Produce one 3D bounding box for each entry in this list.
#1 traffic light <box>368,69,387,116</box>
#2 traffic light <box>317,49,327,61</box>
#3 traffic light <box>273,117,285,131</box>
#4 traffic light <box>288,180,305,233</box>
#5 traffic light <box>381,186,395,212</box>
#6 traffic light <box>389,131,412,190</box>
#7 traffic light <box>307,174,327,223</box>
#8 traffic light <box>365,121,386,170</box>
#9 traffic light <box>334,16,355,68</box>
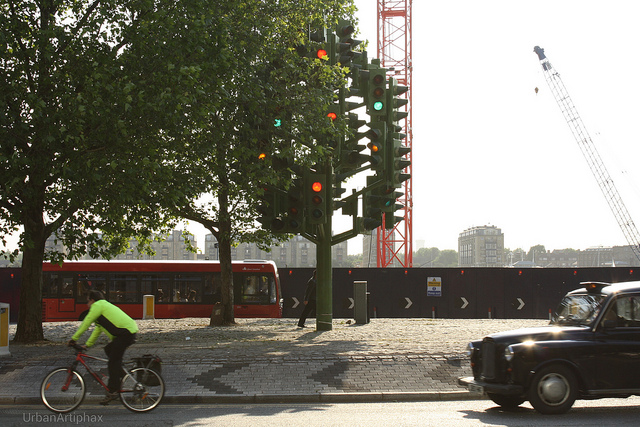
[{"bbox_3d":[1.899,-3.945,29.080,0.573,1.460,0.511,1,-8,-3],"label":"traffic light"},{"bbox_3d":[0.090,-5.041,28.489,0.296,0.345,0.100,3,-8,-16],"label":"traffic light"},{"bbox_3d":[-1.267,-2.782,27.705,0.438,0.582,0.069,-4,25,6],"label":"traffic light"},{"bbox_3d":[-0.765,-0.219,28.246,0.417,1.608,0.781,-6,-10,41],"label":"traffic light"},{"bbox_3d":[2.312,-0.468,29.965,0.428,0.765,0.731,0,-8,6],"label":"traffic light"},{"bbox_3d":[2.674,-1.779,29.682,0.442,1.897,0.728,-6,-10,40],"label":"traffic light"},{"bbox_3d":[-0.077,-0.449,27.929,0.615,1.542,0.483,3,-8,-15],"label":"traffic light"},{"bbox_3d":[1.850,-2.261,29.338,0.552,1.625,0.874,-1,-8,14],"label":"traffic light"},{"bbox_3d":[0.797,-5.575,29.124,0.596,1.713,0.668,1,-8,-1],"label":"traffic light"}]
